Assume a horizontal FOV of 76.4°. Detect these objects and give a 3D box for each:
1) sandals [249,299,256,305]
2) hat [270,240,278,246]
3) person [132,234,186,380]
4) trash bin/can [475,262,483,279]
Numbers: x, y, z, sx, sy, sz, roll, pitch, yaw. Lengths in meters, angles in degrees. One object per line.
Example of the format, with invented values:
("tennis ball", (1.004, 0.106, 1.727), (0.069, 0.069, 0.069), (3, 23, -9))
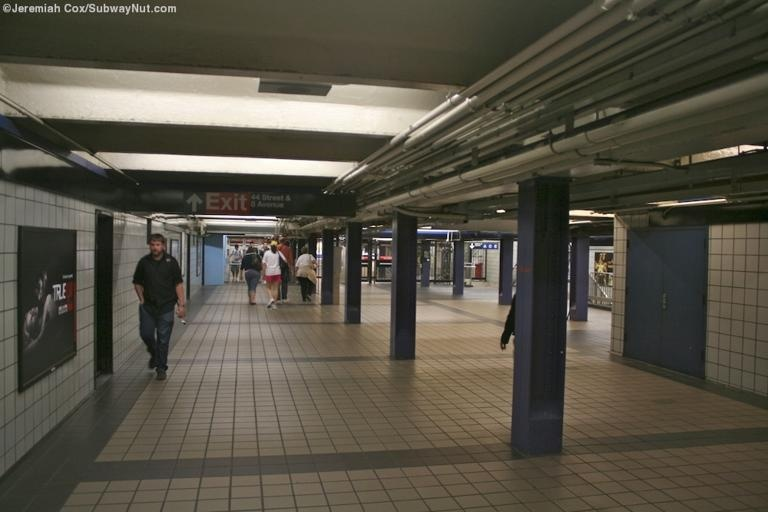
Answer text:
("sandals", (-4.888, 1.694, 18.187), (0.128, 0.205, 0.229), (2, -18, 1))
("hat", (-3.837, -0.479, 17.198), (0.190, 0.185, 0.315), (0, 1, -22))
("person", (-3.882, 0.843, 8.420), (0.758, 2.480, 0.667), (0, 1, -25))
("trash bin/can", (8.194, 1.283, 42.079), (0.373, 1.247, 0.835), (0, 1, -29))
